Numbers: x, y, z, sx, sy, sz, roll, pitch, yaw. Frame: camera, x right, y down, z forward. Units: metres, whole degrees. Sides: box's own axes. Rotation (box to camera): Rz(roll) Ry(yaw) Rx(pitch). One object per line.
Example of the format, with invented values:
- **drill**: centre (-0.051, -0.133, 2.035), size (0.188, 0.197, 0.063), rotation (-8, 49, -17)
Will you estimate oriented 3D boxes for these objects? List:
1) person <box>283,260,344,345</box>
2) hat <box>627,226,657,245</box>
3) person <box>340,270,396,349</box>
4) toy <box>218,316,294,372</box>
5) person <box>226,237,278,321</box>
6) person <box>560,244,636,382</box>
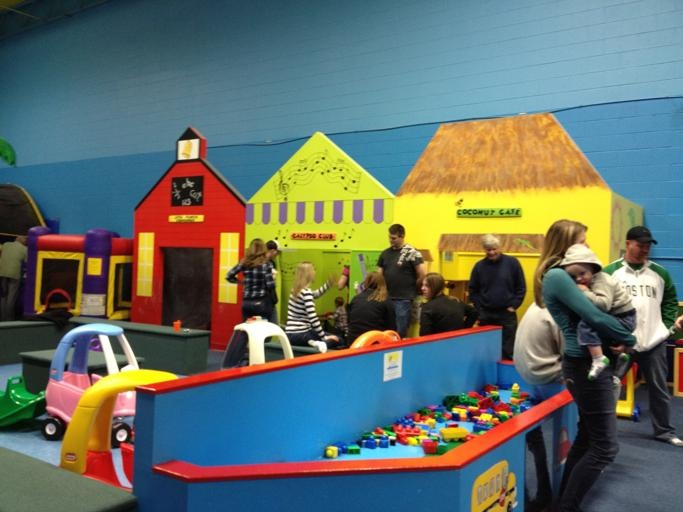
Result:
- **person**: centre (-0.336, 0.600, 6.488), size (0.576, 1.063, 1.002), rotation (-1, 2, 5)
- **hat**: centre (2.771, -0.210, 5.399), size (0.231, 0.157, 0.301), rotation (4, -5, -16)
- **person**: centre (0.324, 0.581, 6.199), size (0.513, 0.786, 0.405), rotation (-1, 2, -1)
- **toy**: centre (-0.698, 0.704, 4.991), size (0.543, 0.510, 0.562), rotation (3, -5, -31)
- **person**: centre (-1.153, 0.335, 7.609), size (0.607, 1.096, 0.372), rotation (-1, 2, -4)
- **person**: centre (1.627, 0.345, 3.714), size (0.455, 0.835, 0.351), rotation (0, 2, 27)
